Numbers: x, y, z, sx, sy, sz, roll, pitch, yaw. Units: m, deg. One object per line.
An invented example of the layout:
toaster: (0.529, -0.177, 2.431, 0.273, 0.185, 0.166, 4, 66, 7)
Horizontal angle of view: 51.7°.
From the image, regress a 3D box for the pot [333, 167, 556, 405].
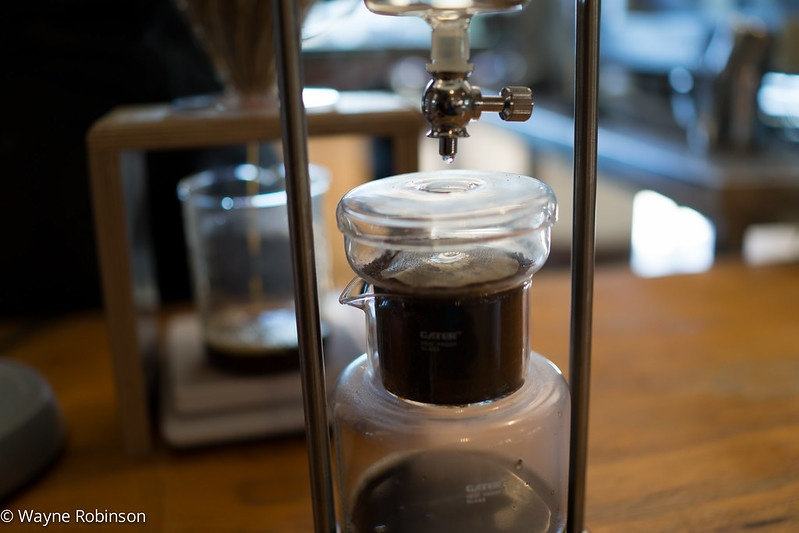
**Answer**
pot: (0.046, 0.014, 0.781, 0.219, 0.200, 0.209, -3, 18, 1)

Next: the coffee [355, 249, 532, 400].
coffee: (0.041, 0.047, 0.702, 0.134, 0.098, 0.110, -1, 5, 13)

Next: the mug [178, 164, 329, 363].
mug: (-0.192, -0.014, 1.013, 0.201, 0.241, 0.228, -2, 8, -3)
